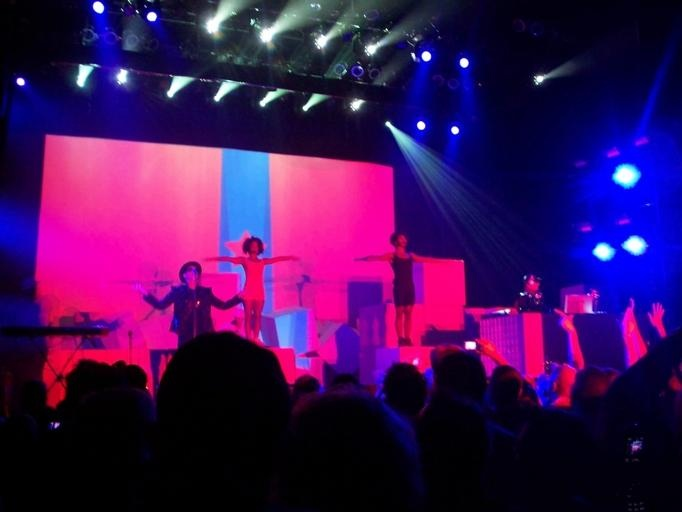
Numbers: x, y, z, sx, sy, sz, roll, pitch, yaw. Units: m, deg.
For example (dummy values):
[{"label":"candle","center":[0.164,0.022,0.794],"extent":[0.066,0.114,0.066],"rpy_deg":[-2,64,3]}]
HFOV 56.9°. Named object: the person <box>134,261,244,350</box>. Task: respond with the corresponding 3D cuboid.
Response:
[{"label":"person","center":[-2.016,0.605,7.985],"extent":[1.147,1.448,0.431],"rpy_deg":[3,-47,-20]}]
